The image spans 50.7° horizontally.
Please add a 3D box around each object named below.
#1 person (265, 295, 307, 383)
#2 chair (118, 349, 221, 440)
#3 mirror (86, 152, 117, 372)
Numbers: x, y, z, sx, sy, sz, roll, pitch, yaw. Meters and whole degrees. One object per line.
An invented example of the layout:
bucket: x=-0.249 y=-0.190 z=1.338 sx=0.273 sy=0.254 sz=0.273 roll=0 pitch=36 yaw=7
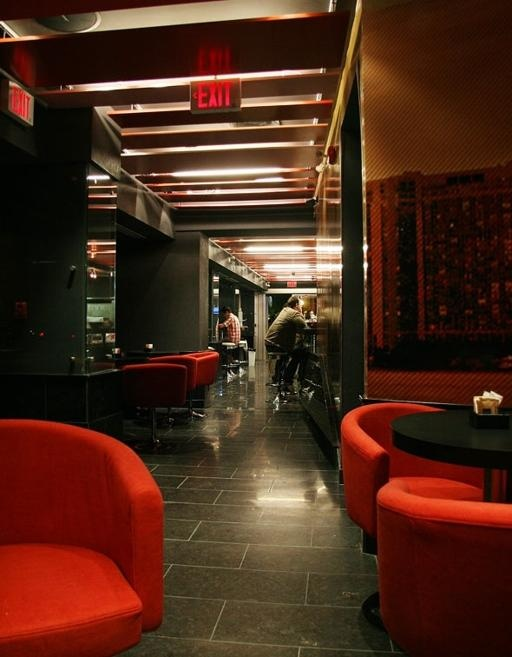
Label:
person: x=0.456 y=0.219 z=8.638 sx=0.609 sy=1.472 sz=1.438 roll=-1 pitch=-2 yaw=1
chair: x=-0.894 y=0.637 z=5.874 sx=0.915 sy=1.176 sz=0.913 roll=2 pitch=-3 yaw=-1
mirror: x=-1.386 y=-0.547 z=4.824 sx=0.108 sy=1.763 sz=0.532 roll=-2 pitch=-2 yaw=8
